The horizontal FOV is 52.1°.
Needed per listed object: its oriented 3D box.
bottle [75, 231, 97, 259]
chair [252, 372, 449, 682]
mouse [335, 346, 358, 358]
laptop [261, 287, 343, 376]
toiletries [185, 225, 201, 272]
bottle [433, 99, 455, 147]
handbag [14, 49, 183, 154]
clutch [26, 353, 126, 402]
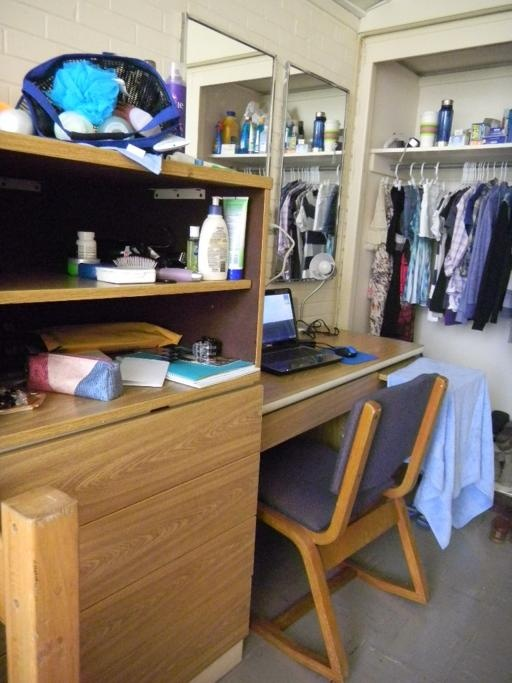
[{"bbox_3d":[-0.380,-0.213,1.167,0.037,0.060,0.066,-1,10,-20],"label":"bottle"},{"bbox_3d":[0.267,0.521,1.740,0.545,0.890,0.587,9,12,33],"label":"chair"},{"bbox_3d":[0.392,0.042,2.305,0.048,0.026,0.081,-6,9,-42],"label":"mouse"},{"bbox_3d":[0.167,-0.027,2.215,0.328,0.210,0.366,30,24,23],"label":"laptop"},{"bbox_3d":[-0.151,-0.219,1.260,0.044,0.110,0.042,0,32,-9],"label":"toiletries"},{"bbox_3d":[1.060,-1.235,2.947,0.083,0.291,0.206,5,10,16],"label":"bottle"},{"bbox_3d":[-0.310,-0.430,1.047,0.294,0.251,0.124,-9,-15,-29],"label":"handbag"},{"bbox_3d":[-0.385,0.066,1.082,0.210,0.080,0.071,5,23,14],"label":"clutch"}]
